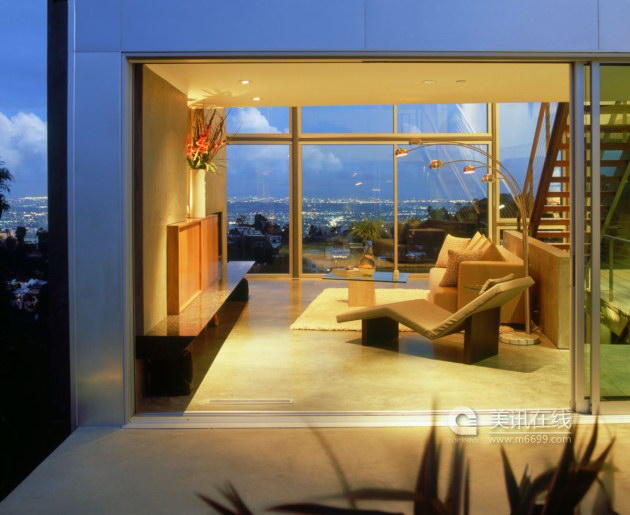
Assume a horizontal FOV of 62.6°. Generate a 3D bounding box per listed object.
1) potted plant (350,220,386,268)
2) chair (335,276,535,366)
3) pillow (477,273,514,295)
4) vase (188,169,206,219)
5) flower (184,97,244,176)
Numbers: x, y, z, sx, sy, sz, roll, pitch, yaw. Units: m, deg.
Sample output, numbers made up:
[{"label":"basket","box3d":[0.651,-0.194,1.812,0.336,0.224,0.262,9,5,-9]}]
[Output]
[{"label":"potted plant","box3d":[0.992,-0.271,9.758,0.698,1.033,0.758,0,1,-5]},{"label":"chair","box3d":[1.266,0.619,5.582,1.877,0.907,0.957,3,4,32]},{"label":"pillow","box3d":[1.890,0.261,5.373,0.381,0.105,0.310,-15,-2,13]},{"label":"vase","box3d":[-1.386,-0.733,5.998,0.174,0.541,0.330,-2,6,-16]},{"label":"flower","box3d":[-1.283,-1.311,5.991,0.409,0.659,0.395,7,4,17]}]
